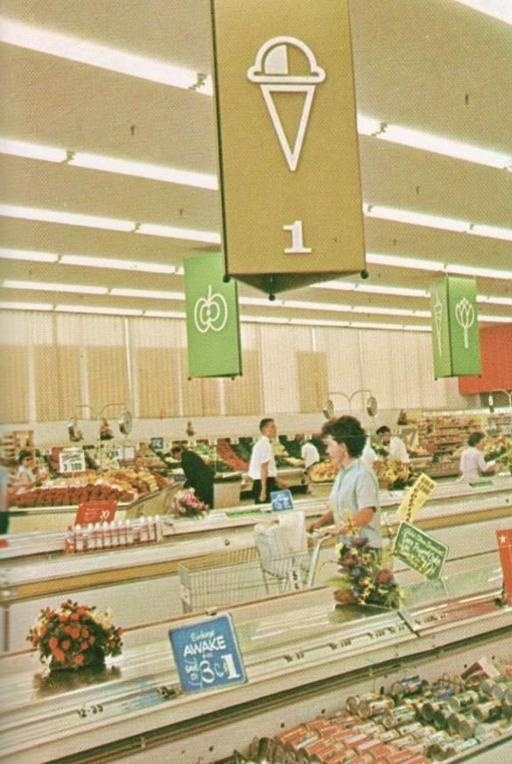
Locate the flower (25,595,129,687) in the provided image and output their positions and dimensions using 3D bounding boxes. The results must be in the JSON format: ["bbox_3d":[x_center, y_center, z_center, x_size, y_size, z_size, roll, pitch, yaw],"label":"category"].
[{"bbox_3d":[-0.554,0.770,1.726,0.247,0.197,0.217,13,-43,-8],"label":"flower"}]

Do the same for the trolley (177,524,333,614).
[{"bbox_3d":[0.012,0.740,2.203,0.486,0.279,0.417,1,-34,-34],"label":"trolley"}]

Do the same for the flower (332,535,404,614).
[{"bbox_3d":[0.396,0.665,2.103,0.236,0.096,0.196,18,6,-30],"label":"flower"}]
